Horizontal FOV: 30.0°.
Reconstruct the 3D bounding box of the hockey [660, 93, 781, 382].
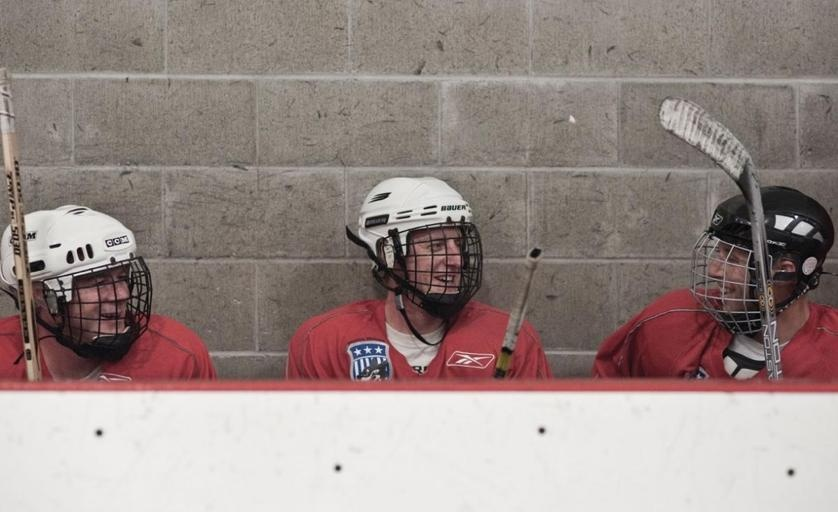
[{"bbox_3d":[1.451,-0.078,7.195,0.423,1.551,0.214,26,60,37],"label":"hockey"}]
